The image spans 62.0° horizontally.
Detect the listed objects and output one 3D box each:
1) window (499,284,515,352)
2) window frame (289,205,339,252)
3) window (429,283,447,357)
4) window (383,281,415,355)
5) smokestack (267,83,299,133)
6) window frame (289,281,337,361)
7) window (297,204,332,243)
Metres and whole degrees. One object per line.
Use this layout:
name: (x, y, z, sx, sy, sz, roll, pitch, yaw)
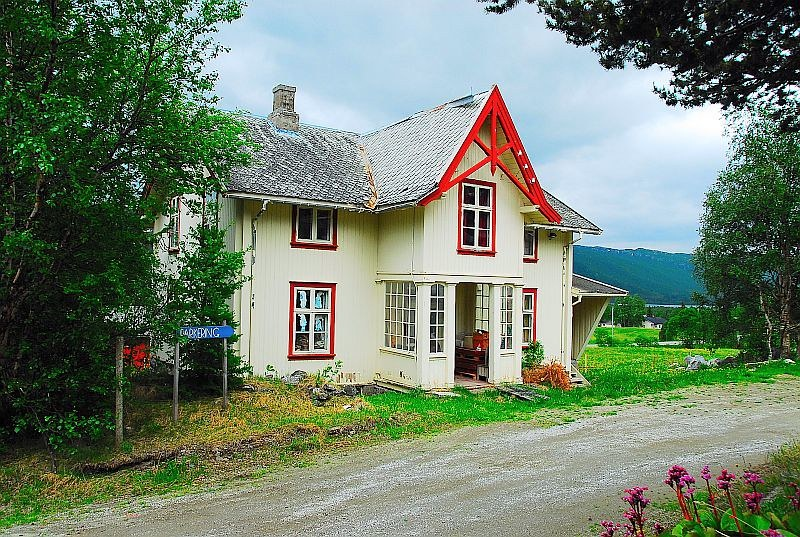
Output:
window: (3.973, 1.825, 25.001, 0.572, 2.480, 0.125, 0, 9, 8)
window frame: (-3.161, -1.430, 23.751, 1.492, 1.330, 0.144, 5, -4, -35)
window: (1.295, 1.785, 23.480, 0.644, 2.784, 0.141, -1, 19, -2)
window: (-0.019, 1.826, 24.041, 0.128, 3.185, 2.349, 5, -7, -31)
smokestack: (-4.844, -6.427, 27.320, 1.117, 1.905, 1.156, 0, -6, -30)
window frame: (-3.108, 1.860, 23.673, 1.708, 2.696, 0.705, -2, 6, -17)
window: (-3.118, -1.613, 23.809, 1.229, 1.087, 0.124, 4, 0, -36)
